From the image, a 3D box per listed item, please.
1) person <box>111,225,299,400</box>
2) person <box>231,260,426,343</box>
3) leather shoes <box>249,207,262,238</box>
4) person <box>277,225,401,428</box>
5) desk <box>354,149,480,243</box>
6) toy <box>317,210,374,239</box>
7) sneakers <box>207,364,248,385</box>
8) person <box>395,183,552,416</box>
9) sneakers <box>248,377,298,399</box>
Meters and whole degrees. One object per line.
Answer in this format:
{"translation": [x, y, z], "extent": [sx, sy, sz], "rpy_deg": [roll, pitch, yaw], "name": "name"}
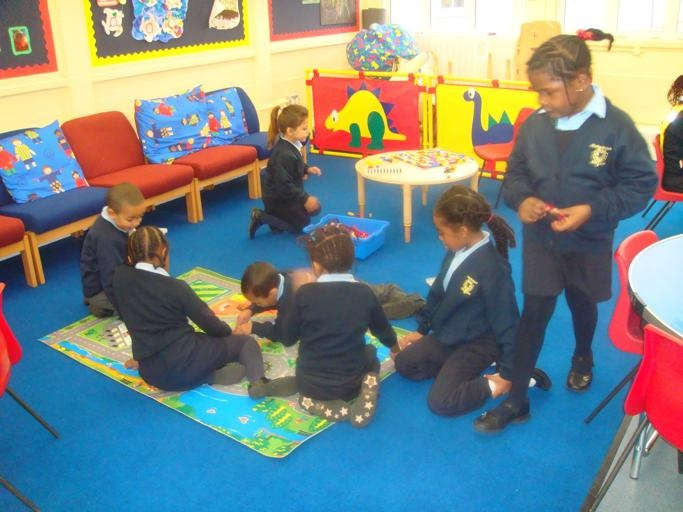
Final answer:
{"translation": [-0.927, 0.316, 3.143], "extent": [0.973, 0.980, 0.606], "rpy_deg": [-1, 10, 21], "name": "person"}
{"translation": [-0.055, 0.248, 3.432], "extent": [1.177, 0.452, 0.624], "rpy_deg": [0, 10, -5], "name": "person"}
{"translation": [-0.749, -0.302, 4.837], "extent": [0.108, 0.274, 0.096], "rpy_deg": [17, 0, -24], "name": "leather shoes"}
{"translation": [-0.043, 0.328, 2.848], "extent": [0.595, 0.950, 0.473], "rpy_deg": [7, 26, 18], "name": "person"}
{"translation": [0.603, -0.757, 4.788], "extent": [0.962, 0.485, 0.950], "rpy_deg": [-23, 34, -31], "name": "desk"}
{"translation": [0.031, -0.261, 4.624], "extent": [0.294, 0.099, 0.256], "rpy_deg": [12, 26, 28], "name": "toy"}
{"translation": [-0.630, 0.671, 3.105], "extent": [0.095, 0.041, 0.167], "rpy_deg": [28, 36, 34], "name": "sneakers"}
{"translation": [0.714, 0.284, 2.982], "extent": [0.897, 1.308, 0.823], "rpy_deg": [-6, 30, -1], "name": "person"}
{"translation": [-0.368, 0.715, 2.958], "extent": [0.234, 0.072, 0.124], "rpy_deg": [-4, 36, 3], "name": "sneakers"}
